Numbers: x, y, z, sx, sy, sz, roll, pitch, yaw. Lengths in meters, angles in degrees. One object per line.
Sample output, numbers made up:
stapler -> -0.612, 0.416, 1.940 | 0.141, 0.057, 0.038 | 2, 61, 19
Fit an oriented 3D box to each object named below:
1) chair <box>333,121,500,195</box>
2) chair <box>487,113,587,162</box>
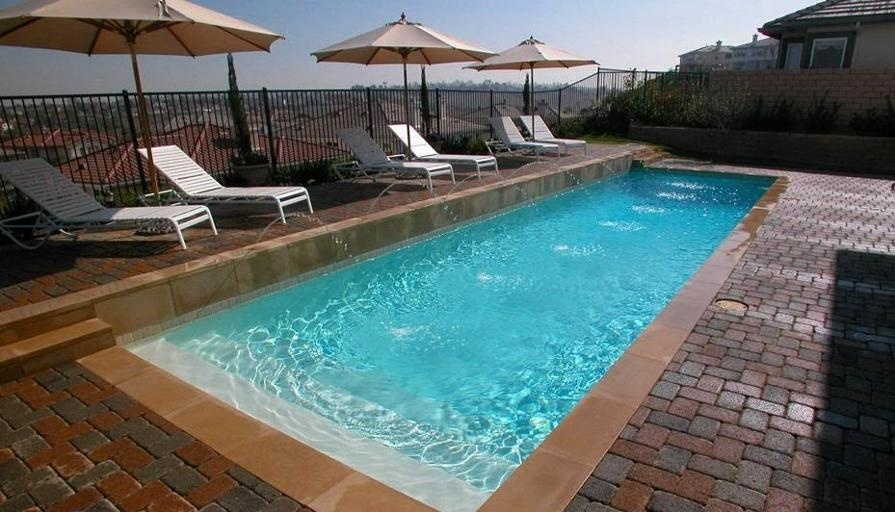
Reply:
chair -> -1.333, -2.473, 12.054 | 3.352, 1.440, 2.384 | 19, 31, 36
chair -> 3.142, -4.078, 16.488 | 2.726, 1.309, 3.008 | -17, 29, -33
